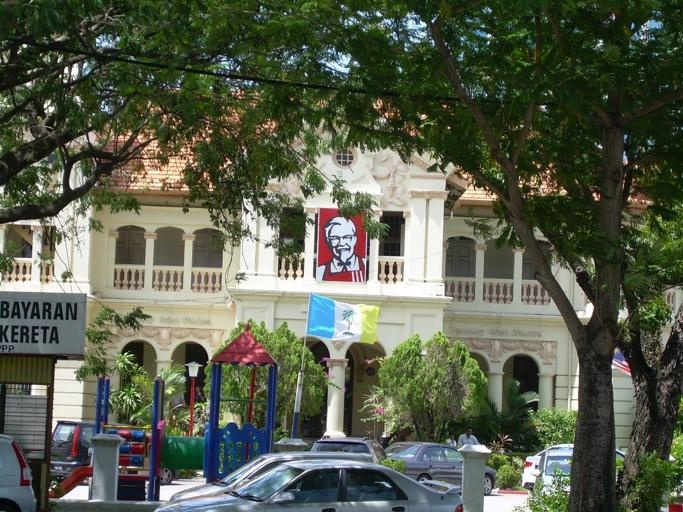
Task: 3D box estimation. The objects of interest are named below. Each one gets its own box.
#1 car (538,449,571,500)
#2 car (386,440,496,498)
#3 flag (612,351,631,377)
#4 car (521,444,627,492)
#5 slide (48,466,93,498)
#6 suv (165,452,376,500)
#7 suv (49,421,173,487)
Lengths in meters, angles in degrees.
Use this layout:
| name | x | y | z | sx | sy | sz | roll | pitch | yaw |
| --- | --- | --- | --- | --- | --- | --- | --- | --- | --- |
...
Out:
| name | x | y | z | sx | sy | sz | roll | pitch | yaw |
| --- | --- | --- | --- | --- | --- | --- | --- | --- | --- |
| car | 5.094 | 5.102 | 33.512 | 0.807 | 0.865 | 1.841 | -1 | -12 | 3 |
| car | 2.875 | 5.420 | 37.053 | 3.459 | 1.299 | 1.496 | 4 | -6 | -29 |
| flag | 8.540 | 3.161 | 43.165 | 0.445 | 0.708 | 2.051 | -2 | -11 | 12 |
| car | 4.953 | 4.498 | 29.951 | 1.672 | 1.287 | 3.530 | 0 | -13 | 0 |
| slide | -5.790 | 4.694 | 30.526 | 0.946 | 0.226 | 0.545 | -41 | 16 | -7 |
| suv | -1.646 | 4.323 | 27.914 | 3.255 | 1.277 | 1.651 | 0 | -7 | 0 |
| suv | -5.698 | 4.588 | 34.840 | 2.718 | 1.719 | 1.804 | -2 | -7 | -12 |
